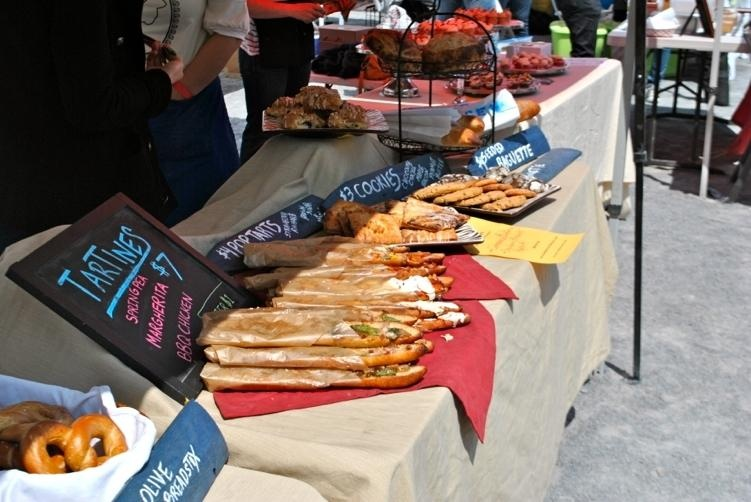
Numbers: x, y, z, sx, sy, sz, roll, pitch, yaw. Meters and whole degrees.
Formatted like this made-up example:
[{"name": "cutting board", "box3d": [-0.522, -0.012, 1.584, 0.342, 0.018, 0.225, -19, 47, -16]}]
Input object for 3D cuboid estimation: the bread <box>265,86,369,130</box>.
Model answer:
[{"name": "bread", "box3d": [-0.245, -0.585, 2.077, 0.417, 0.157, 0.258, -4, 23, -9]}]
